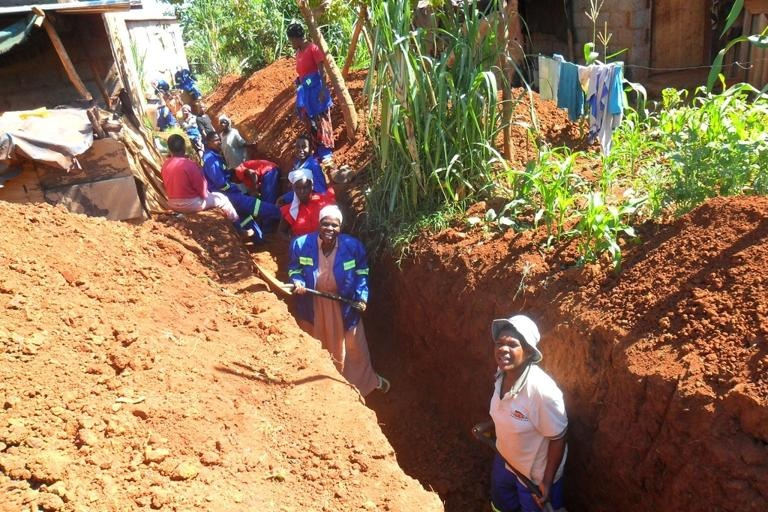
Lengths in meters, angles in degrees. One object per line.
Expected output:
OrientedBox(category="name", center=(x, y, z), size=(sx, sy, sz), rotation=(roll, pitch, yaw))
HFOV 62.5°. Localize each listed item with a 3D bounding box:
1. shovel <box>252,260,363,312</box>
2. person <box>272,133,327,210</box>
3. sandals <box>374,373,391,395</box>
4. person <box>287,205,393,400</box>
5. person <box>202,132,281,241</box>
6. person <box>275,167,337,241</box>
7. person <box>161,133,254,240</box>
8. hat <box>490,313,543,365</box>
OrientedBox(category="shovel", center=(-0.755, 0.354, 6.382), size=(0.978, 0.196, 0.535), rotation=(15, 1, -17))
OrientedBox(category="person", center=(-1.022, -0.997, 7.637), size=(0.503, 0.850, 0.497), rotation=(7, 18, 16))
OrientedBox(category="sandals", center=(-0.012, 1.394, 6.887), size=(0.147, 0.116, 0.229), rotation=(2, 62, -12))
OrientedBox(category="person", center=(-0.454, 0.544, 6.602), size=(0.937, 2.157, 0.803), rotation=(1, 29, 4))
OrientedBox(category="person", center=(-1.832, -0.834, 8.029), size=(0.870, 0.625, 1.347), rotation=(-1, 24, -30))
OrientedBox(category="person", center=(-0.868, -0.558, 7.096), size=(0.734, 0.836, 0.447), rotation=(-6, 34, 8))
OrientedBox(category="person", center=(-2.147, -0.780, 7.241), size=(0.694, 1.176, 0.405), rotation=(-15, 28, -18))
OrientedBox(category="hat", center=(1.034, 0.587, 4.831), size=(0.188, 0.389, 0.348), rotation=(-49, 14, -26))
